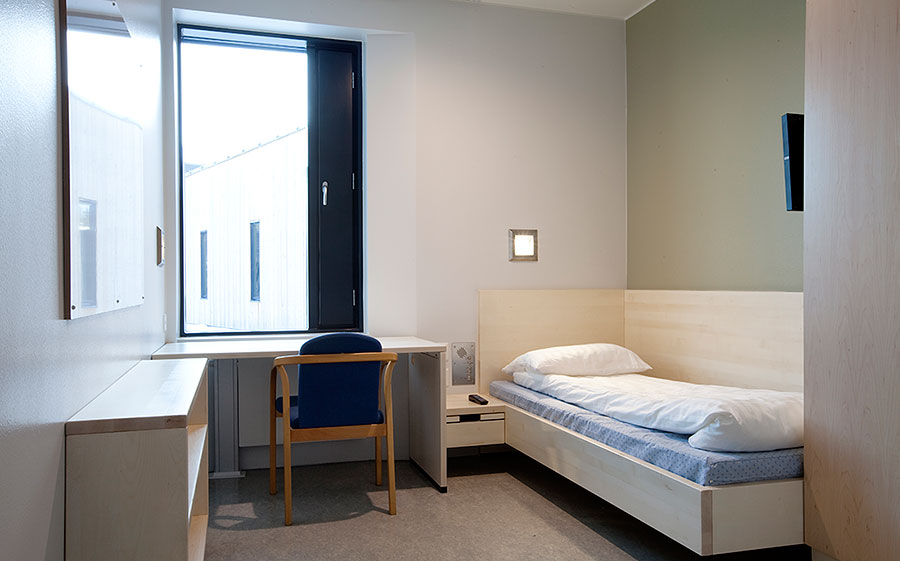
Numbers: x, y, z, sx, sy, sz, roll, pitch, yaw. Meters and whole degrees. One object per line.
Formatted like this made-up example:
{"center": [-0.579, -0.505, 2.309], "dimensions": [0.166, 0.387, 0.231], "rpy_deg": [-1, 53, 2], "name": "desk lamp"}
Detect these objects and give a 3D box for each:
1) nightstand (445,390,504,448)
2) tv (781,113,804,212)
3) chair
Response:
{"center": [0.179, 1.025, 4.473], "dimensions": [0.508, 0.240, 0.358], "rpy_deg": [0, -1, -12], "name": "nightstand"}
{"center": [2.086, -0.730, 3.774], "dimensions": [0.119, 0.588, 0.220], "rpy_deg": [3, 7, 22], "name": "tv"}
{"center": [-0.800, 0.850, 4.109], "dimensions": [0.801, 1.133, 0.997], "rpy_deg": [-2, 6, -17], "name": "chair"}
